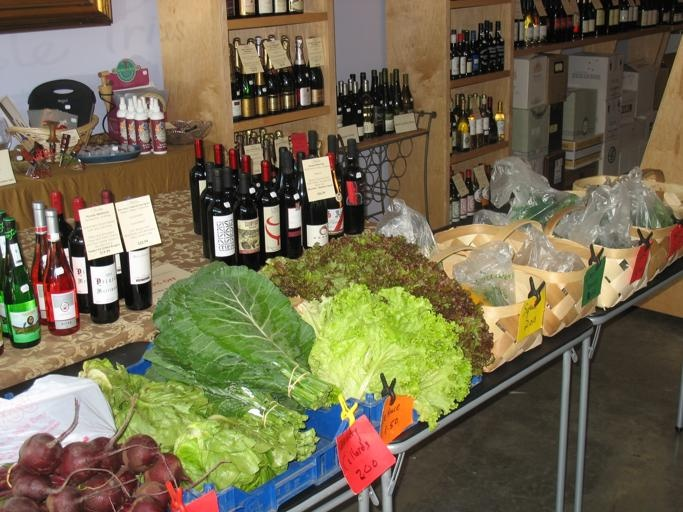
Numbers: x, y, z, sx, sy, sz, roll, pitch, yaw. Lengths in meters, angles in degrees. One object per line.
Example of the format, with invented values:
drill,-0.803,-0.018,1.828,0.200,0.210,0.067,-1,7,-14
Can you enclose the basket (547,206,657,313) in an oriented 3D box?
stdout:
basket,0.919,0.014,1.987,0.299,0.298,0.370,-22,29,-40

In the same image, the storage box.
storage box,2.119,-1.269,4.596,1.530,1.545,0.500,-16,17,-39

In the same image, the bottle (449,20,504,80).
bottle,1.092,-1.647,4.237,0.459,0.489,0.104,-15,20,-30

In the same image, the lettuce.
lettuce,0.099,0.301,1.298,0.326,0.205,0.351,-7,42,-28

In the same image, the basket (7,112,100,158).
basket,-1.500,-0.625,2.793,0.228,0.115,0.277,8,22,22

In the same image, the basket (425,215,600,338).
basket,0.578,-0.005,1.871,0.331,0.307,0.557,-20,31,-39

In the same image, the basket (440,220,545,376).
basket,0.480,0.084,1.695,0.314,0.255,0.463,15,25,36
